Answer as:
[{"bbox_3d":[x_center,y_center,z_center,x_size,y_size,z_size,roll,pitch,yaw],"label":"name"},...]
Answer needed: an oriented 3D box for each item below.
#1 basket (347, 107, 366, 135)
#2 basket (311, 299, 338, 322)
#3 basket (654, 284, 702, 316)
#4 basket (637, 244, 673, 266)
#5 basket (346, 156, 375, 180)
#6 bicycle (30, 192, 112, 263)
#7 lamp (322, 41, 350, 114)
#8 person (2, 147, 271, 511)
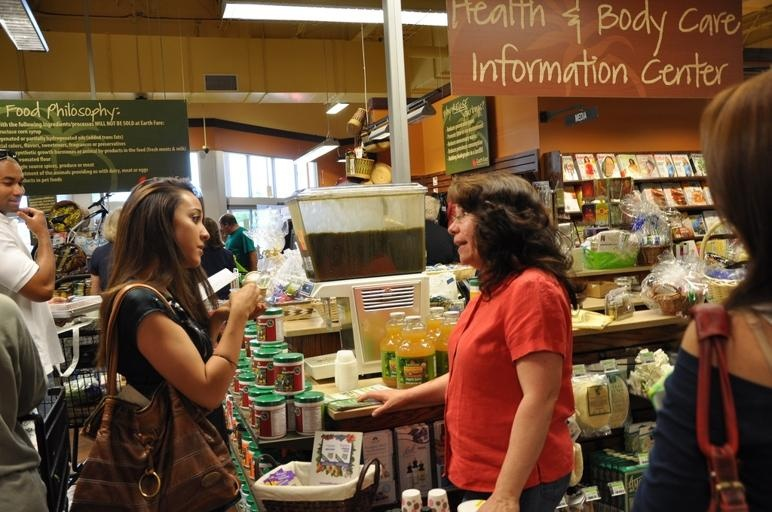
[{"bbox_3d":[-0.457,-2.161,8.732,0.283,0.421,0.579,-4,2,-1],"label":"basket"},{"bbox_3d":[-0.401,0.360,3.623,0.220,0.065,0.236,4,-12,40],"label":"basket"},{"bbox_3d":[1.620,0.231,3.048,0.218,0.141,0.250,7,-10,-6],"label":"basket"},{"bbox_3d":[2.090,-0.011,4.323,0.275,0.188,0.278,0,-3,9],"label":"basket"},{"bbox_3d":[-0.404,-1.287,8.052,0.281,0.244,0.366,-4,-5,43],"label":"basket"},{"bbox_3d":[-3.282,-0.297,5.731,0.647,0.947,0.384,-9,-12,19],"label":"bicycle"},{"bbox_3d":[-1.112,-3.677,11.795,0.436,1.383,1.260,-4,2,-4],"label":"lamp"},{"bbox_3d":[-1.412,0.216,2.952,1.082,2.444,1.019,-2,2,-39],"label":"person"}]
